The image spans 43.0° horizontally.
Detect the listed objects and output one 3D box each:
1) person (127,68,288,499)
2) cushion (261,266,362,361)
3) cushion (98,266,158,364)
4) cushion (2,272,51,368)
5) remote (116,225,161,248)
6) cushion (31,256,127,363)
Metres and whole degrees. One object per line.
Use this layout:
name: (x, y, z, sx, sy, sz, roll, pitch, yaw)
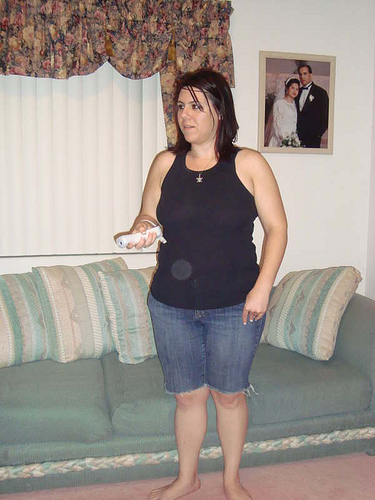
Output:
person: (0.067, 0.163, 1.617, 0.504, 1.478, 0.301, 3, 14, 14)
cushion: (0.578, 0.283, 2.244, 0.142, 0.478, 0.469, 28, -11, -19)
cushion: (-0.289, 0.286, 2.287, 0.321, 0.471, 0.282, -3, 12, -25)
cushion: (-0.734, 0.295, 2.079, 0.190, 0.345, 0.267, -2, 11, -29)
remote: (-0.165, -0.043, 1.532, 0.117, 0.029, 0.068, -14, 4, -11)
cushion: (-0.519, 0.262, 2.129, 0.403, 0.413, 0.119, -6, -16, -45)
